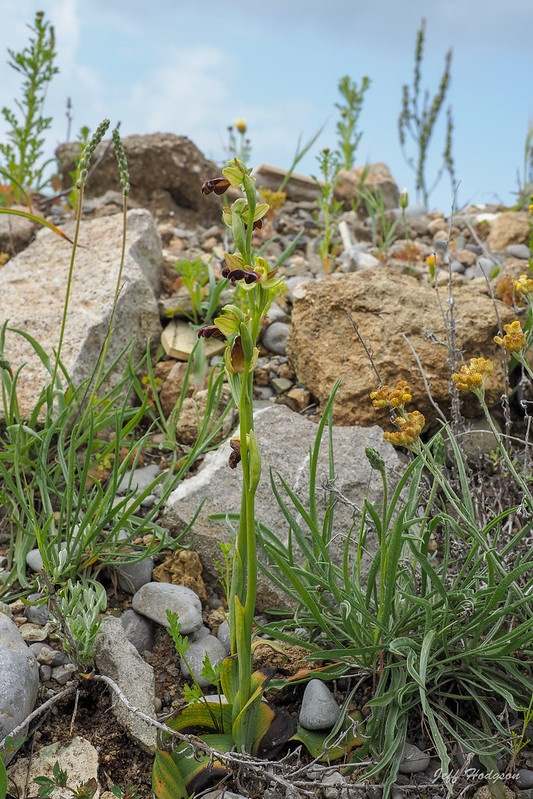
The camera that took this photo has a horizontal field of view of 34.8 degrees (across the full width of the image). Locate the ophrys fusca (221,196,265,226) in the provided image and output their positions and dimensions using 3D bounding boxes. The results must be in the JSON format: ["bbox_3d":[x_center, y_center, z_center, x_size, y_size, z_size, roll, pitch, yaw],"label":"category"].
[{"bbox_3d":[-0.049,-0.418,1.921,0.084,0.078,0.038,9,18,-27],"label":"ophrys fusca"}]

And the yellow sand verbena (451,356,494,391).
[{"bbox_3d":[0.565,-0.071,2.355,0.095,0.098,0.226,5,9,12],"label":"yellow sand verbena"}]

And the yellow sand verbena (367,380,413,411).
[{"bbox_3d":[0.379,-0.014,2.654,0.091,0.085,0.054,-18,49,2],"label":"yellow sand verbena"}]
